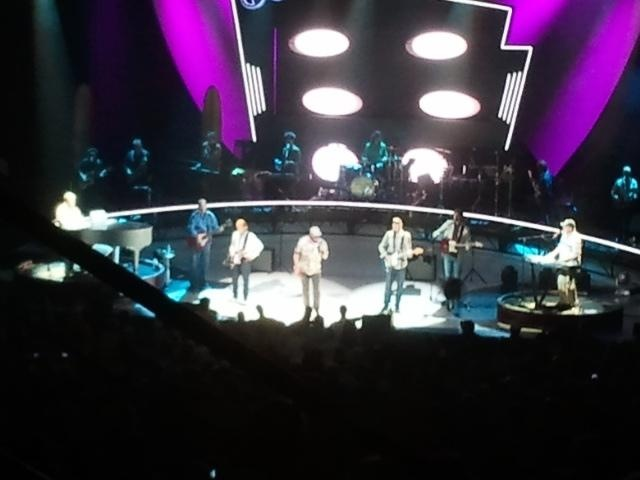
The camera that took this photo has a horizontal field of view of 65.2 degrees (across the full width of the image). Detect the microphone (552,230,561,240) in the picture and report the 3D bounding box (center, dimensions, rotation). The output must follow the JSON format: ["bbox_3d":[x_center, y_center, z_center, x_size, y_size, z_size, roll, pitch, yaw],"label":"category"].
[{"bbox_3d":[4.540,-0.092,9.638,0.143,0.288,0.254,4,2,29],"label":"microphone"}]

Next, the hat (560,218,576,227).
[{"bbox_3d":[4.478,-0.314,9.086,0.292,0.172,0.212,0,2,-16],"label":"hat"}]

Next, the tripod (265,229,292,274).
[{"bbox_3d":[-1.002,0.301,11.762,0.749,0.900,0.035,11,-11,0],"label":"tripod"}]

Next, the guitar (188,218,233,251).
[{"bbox_3d":[-2.321,-0.175,9.991,0.815,0.461,0.119,-31,15,-36],"label":"guitar"}]

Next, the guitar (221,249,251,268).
[{"bbox_3d":[-1.565,0.385,9.700,0.304,0.238,0.519,2,8,16],"label":"guitar"}]
